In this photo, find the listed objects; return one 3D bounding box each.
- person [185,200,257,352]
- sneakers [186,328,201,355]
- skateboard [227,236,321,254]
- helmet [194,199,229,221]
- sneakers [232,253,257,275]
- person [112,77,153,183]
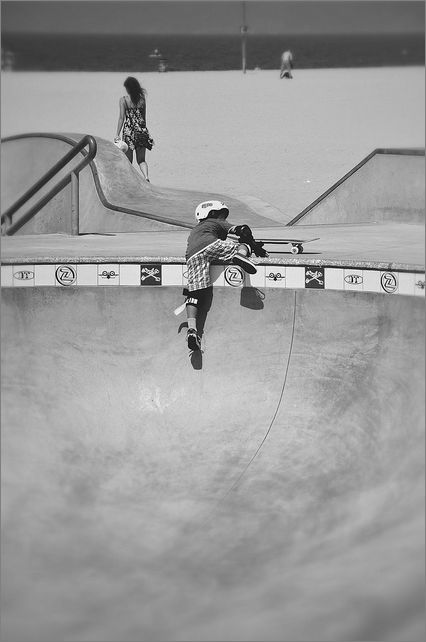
[{"bbox_3d":[0.053,-0.314,6.129,0.463,1.041,0.391,-1,-5,1],"label":"person"},{"bbox_3d":[-0.120,0.144,5.958,0.058,0.186,0.085,0,38,10],"label":"sneakers"},{"bbox_3d":[0.404,-0.512,6.330,0.528,0.102,0.145,4,17,14],"label":"skateboard"},{"bbox_3d":[-0.003,-0.761,6.388,0.184,0.152,0.138,7,-27,-2],"label":"helmet"},{"bbox_3d":[0.202,-0.367,6.030,0.088,0.082,0.211,-23,46,-30],"label":"sneakers"},{"bbox_3d":[-0.721,-1.780,8.612,0.340,0.900,0.251,1,-5,-17],"label":"person"}]
